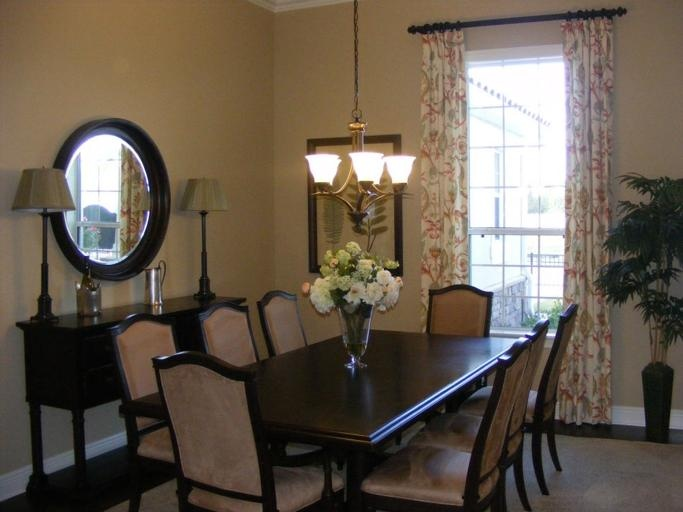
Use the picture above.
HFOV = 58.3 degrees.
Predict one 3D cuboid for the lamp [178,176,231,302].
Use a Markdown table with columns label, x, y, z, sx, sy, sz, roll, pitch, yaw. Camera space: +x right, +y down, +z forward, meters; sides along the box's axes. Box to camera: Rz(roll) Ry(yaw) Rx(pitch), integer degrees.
| label | x | y | z | sx | sy | sz | roll | pitch | yaw |
| --- | --- | --- | --- | --- | --- | --- | --- | --- | --- |
| lamp | -1.220 | -0.168 | 5.421 | 0.399 | 1.026 | 0.560 | -2 | 8 | -15 |

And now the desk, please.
| label | x | y | z | sx | sy | sz | roll | pitch | yaw |
| --- | --- | --- | --- | --- | --- | --- | --- | --- | --- |
| desk | -1.387 | 0.912 | 3.876 | 0.371 | 0.817 | 1.237 | 1 | 4 | 23 |

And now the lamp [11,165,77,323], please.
| label | x | y | z | sx | sy | sz | roll | pitch | yaw |
| --- | --- | --- | --- | --- | --- | --- | --- | --- | --- |
| lamp | -2.075 | -0.087 | 4.262 | 0.369 | 1.033 | 0.398 | -6 | 10 | -39 |

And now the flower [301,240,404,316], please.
| label | x | y | z | sx | sy | sz | roll | pitch | yaw |
| --- | --- | --- | --- | --- | --- | --- | --- | --- | --- |
| flower | 0.088 | 0.142 | 3.921 | 0.495 | 0.499 | 0.465 | 4 | -1 | 38 |
